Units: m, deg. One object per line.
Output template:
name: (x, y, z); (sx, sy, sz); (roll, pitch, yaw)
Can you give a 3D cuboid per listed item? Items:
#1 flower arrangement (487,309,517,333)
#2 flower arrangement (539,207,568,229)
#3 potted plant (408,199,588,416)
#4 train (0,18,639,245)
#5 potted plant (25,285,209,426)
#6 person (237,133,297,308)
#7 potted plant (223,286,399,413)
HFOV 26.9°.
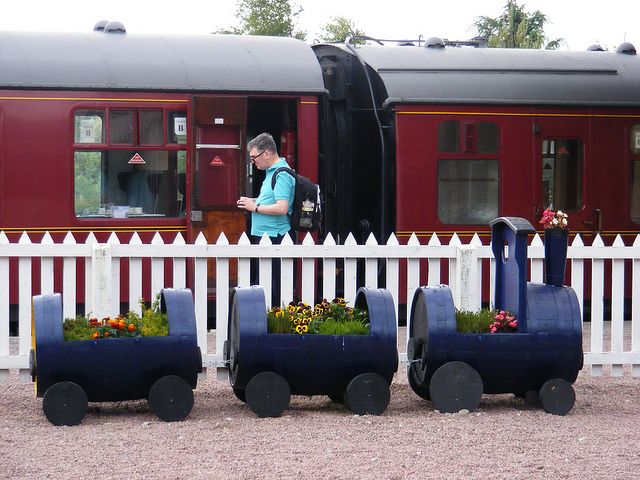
flower arrangement: (1.879, 0.855, 13.737); (0.199, 0.249, 0.206); (2, 10, 15)
flower arrangement: (2.440, -0.193, 13.950); (0.217, 0.252, 0.120); (8, -18, 14)
potted plant: (1.880, 0.758, 14.914); (2.145, 2.901, 1.476); (-2, 3, -9)
train: (-0.012, -1.368, 17.510); (8.091, 2.784, 1.368); (-2, 0, -6)
potted plant: (-2.080, 1.220, 13.993); (1.818, 1.489, 1.018); (-1, -5, -6)
person: (-0.596, -0.583, 15.480); (0.542, 1.662, 0.446); (-1, 0, 43)
potted plant: (-0.025, 1.333, 13.977); (1.746, 1.387, 1.159); (-1, -18, 3)
